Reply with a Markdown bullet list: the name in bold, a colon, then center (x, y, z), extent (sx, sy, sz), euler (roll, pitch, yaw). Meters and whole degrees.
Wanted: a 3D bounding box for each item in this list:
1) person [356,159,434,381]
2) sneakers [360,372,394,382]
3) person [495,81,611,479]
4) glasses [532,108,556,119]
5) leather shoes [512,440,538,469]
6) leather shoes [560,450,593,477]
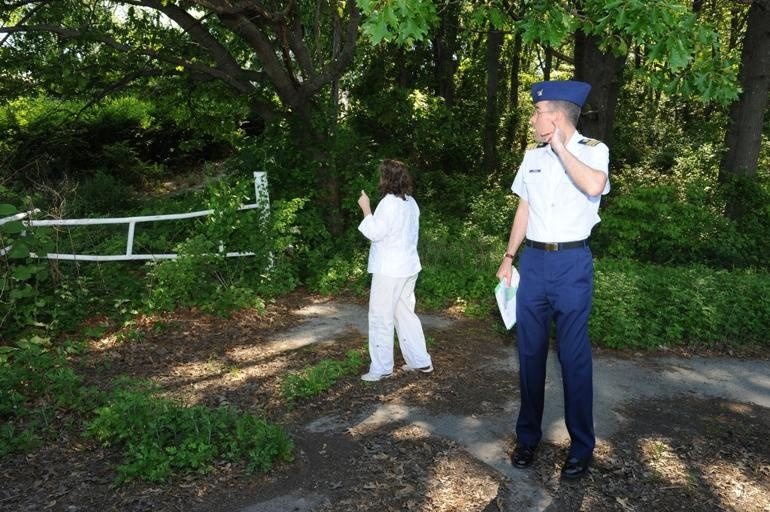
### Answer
- **person**: center (0.115, 0.191, 7.374), extent (0.939, 2.912, 0.363), euler (0, 7, -9)
- **sneakers**: center (-0.117, 1.593, 7.467), extent (0.399, 0.181, 0.152), euler (2, 1, -10)
- **person**: center (1.799, 0.218, 5.929), extent (1.036, 4.087, 0.643), euler (4, 8, 22)
- **glasses**: center (1.625, -1.497, 5.795), extent (0.119, 0.105, 0.243), euler (-4, 10, -36)
- **leather shoes**: center (1.485, 2.156, 6.005), extent (0.343, 0.154, 0.138), euler (-4, 9, -26)
- **leather shoes**: center (2.011, 2.209, 5.882), extent (0.408, 0.169, 0.160), euler (-8, 6, -31)
